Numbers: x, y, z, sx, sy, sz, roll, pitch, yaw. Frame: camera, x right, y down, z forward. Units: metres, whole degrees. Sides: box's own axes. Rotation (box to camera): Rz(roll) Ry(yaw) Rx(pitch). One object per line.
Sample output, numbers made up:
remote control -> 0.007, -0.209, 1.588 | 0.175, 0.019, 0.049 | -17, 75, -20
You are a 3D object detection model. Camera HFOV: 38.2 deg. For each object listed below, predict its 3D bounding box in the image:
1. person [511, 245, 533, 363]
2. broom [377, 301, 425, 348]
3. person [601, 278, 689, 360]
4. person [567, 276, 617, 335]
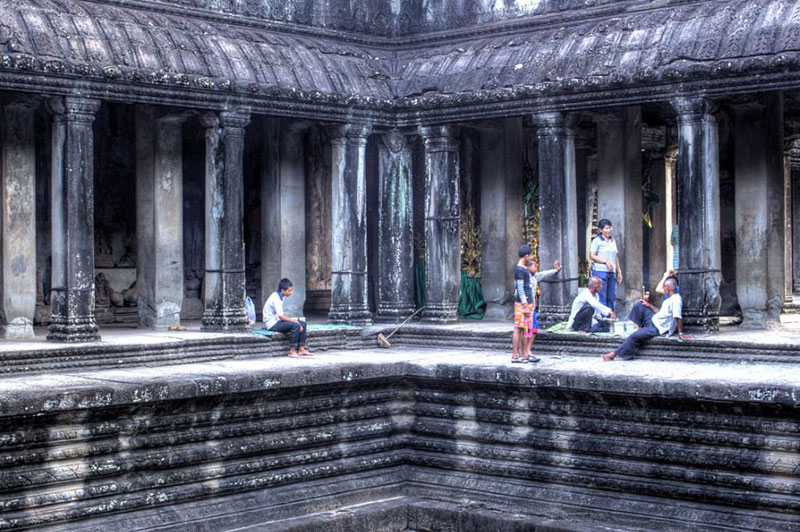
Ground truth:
person -> 1.581, 0.484, 14.924 | 0.266, 1.495, 0.416 | -1, 2, 23
broom -> -0.034, 0.914, 16.936 | 0.493, 0.650, 0.544 | 2, 17, 10
person -> 3.326, 0.652, 15.491 | 1.020, 1.113, 0.840 | -1, 1, 5
person -> 2.667, 0.531, 16.057 | 0.691, 0.898, 0.651 | -2, 6, -1
